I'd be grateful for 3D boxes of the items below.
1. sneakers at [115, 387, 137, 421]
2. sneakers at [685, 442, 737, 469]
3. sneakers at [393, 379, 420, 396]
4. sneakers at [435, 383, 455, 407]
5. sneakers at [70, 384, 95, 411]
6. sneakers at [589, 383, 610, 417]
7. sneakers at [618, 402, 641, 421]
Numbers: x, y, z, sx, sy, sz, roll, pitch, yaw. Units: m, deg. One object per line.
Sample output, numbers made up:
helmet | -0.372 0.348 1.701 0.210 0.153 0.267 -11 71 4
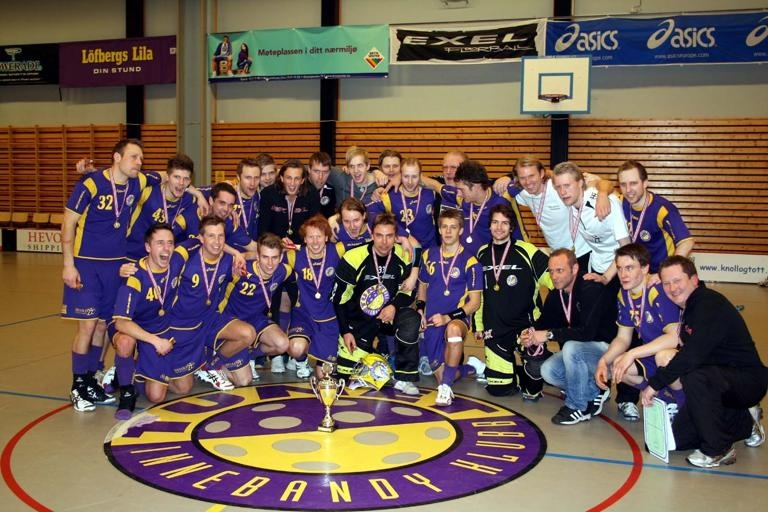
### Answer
sneakers | -2.741 1.561 6.801 0.220 0.283 0.357 -5 10 -22
sneakers | 3.152 1.939 6.145 0.469 0.215 0.176 0 7 -5
sneakers | 0.256 1.546 7.412 0.274 0.117 0.136 3 0 31
sneakers | 0.672 1.561 7.097 0.201 0.214 0.174 -1 9 -3
sneakers | -3.256 1.550 6.918 0.189 0.243 0.288 -7 11 -33
sneakers | 2.318 1.573 6.913 0.130 0.386 0.165 29 26 5
sneakers | 2.680 1.707 6.972 0.111 0.121 0.307 -1 -3 2
